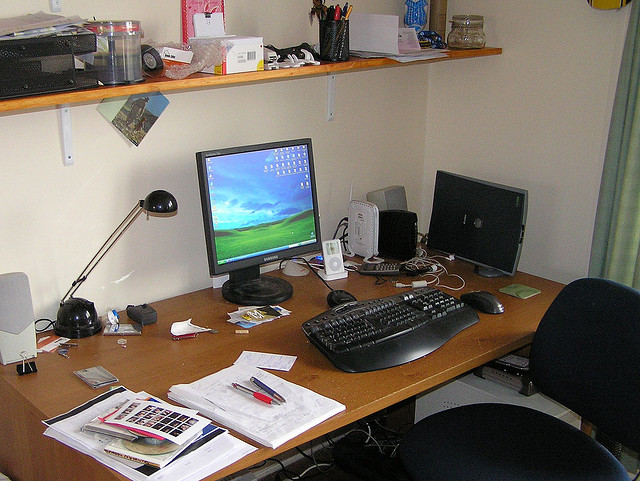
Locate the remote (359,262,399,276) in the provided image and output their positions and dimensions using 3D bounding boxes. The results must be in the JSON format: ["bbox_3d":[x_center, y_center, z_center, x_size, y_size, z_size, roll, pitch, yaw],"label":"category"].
[{"bbox_3d":[0.253,0.118,2.102,0.124,0.029,0.069,-1,25,3],"label":"remote"}]

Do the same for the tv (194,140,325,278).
[{"bbox_3d":[-0.246,-0.127,1.882,0.527,0.431,0.053,-17,11,-39],"label":"tv"}]

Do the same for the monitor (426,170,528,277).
[{"bbox_3d":[0.678,-0.084,2.116,0.216,0.431,0.456,-13,25,-32],"label":"monitor"}]

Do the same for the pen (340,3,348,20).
[{"bbox_3d":[0.090,-0.854,1.825,0.015,0.059,0.020,12,0,2],"label":"pen"}]

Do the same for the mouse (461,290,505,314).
[{"bbox_3d":[0.598,0.208,1.811,0.075,0.045,0.134,-14,26,-41],"label":"mouse"}]

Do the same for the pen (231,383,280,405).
[{"bbox_3d":[-0.170,0.408,1.294,0.131,0.013,0.013,13,10,20],"label":"pen"}]

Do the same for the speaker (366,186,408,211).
[{"bbox_3d":[0.311,-0.195,2.304,0.059,0.095,0.114,-4,22,47],"label":"speaker"}]

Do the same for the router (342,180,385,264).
[{"bbox_3d":[0.199,-0.091,2.197,0.100,0.352,0.242,-9,17,-36],"label":"router"}]
